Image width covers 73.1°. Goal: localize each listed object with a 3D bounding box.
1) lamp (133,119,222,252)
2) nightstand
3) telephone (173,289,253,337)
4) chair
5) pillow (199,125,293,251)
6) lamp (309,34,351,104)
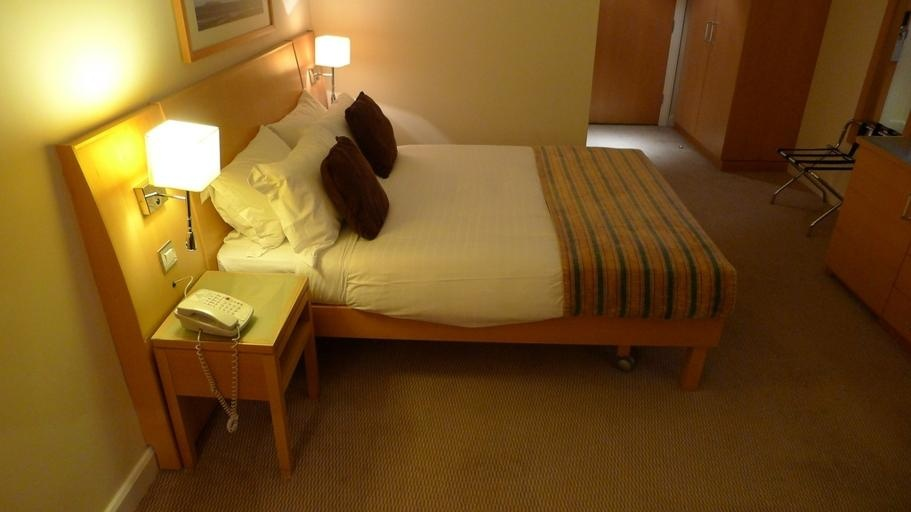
[{"bbox_3d":[-1.665,-0.430,3.645,0.464,0.830,0.376,13,38,-6],"label":"lamp"},{"bbox_3d":[-1.344,0.712,3.973,0.782,0.974,0.954,0,36,7],"label":"nightstand"},{"bbox_3d":[-1.436,0.370,3.688,0.377,0.146,0.266,9,44,2],"label":"telephone"},{"bbox_3d":[3.748,-0.957,6.199,0.962,1.144,1.229,-2,31,19],"label":"chair"},{"bbox_3d":[-1.436,-0.471,4.560,0.560,0.258,0.945,-45,9,-11],"label":"pillow"},{"bbox_3d":[-1.180,-1.764,5.754,0.337,0.910,0.183,7,60,-3],"label":"lamp"}]
